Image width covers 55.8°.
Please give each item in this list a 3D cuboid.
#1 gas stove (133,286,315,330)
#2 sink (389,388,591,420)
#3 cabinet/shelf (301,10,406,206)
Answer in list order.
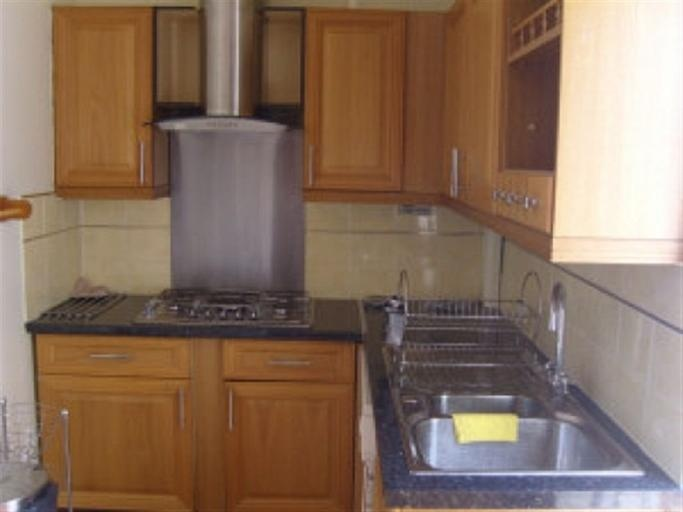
[{"bbox_3d":[-0.584,0.260,3.399,0.889,0.069,0.626,0,14,2],"label":"gas stove"},{"bbox_3d":[0.502,0.549,2.278,0.635,0.085,0.229,1,14,6],"label":"sink"},{"bbox_3d":[0.065,-0.776,3.234,0.493,0.879,0.162,0,13,4],"label":"cabinet/shelf"}]
